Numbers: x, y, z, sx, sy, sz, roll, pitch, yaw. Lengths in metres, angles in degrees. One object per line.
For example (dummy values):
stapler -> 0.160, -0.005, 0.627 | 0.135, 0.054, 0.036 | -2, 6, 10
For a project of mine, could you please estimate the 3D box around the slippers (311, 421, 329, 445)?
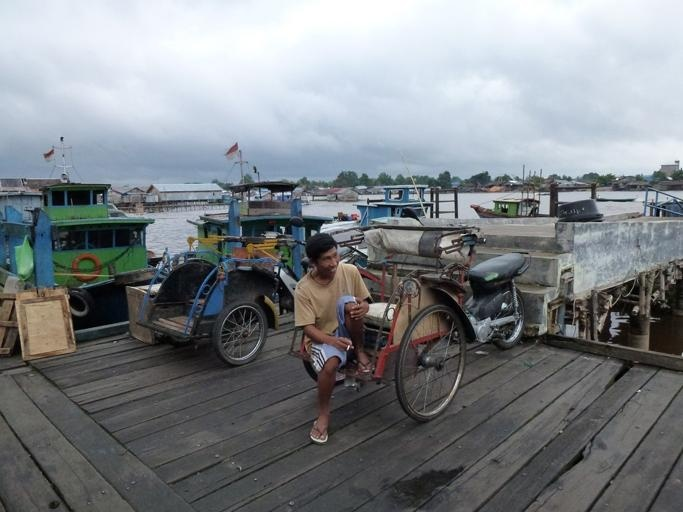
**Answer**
slippers -> -0.183, 1.461, 3.738 | 0.165, 0.143, 0.144 | -3, 13, -6

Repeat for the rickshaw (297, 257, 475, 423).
rickshaw -> 1.258, 0.673, 4.478 | 2.288, 1.316, 0.889 | -7, 4, -43

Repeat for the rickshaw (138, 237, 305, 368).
rickshaw -> -1.368, 0.448, 5.960 | 1.405, 1.355, 2.030 | 6, 6, 44

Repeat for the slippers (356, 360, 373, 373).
slippers -> 0.188, 0.906, 3.715 | 0.168, 0.080, 0.119 | 3, 14, 17
